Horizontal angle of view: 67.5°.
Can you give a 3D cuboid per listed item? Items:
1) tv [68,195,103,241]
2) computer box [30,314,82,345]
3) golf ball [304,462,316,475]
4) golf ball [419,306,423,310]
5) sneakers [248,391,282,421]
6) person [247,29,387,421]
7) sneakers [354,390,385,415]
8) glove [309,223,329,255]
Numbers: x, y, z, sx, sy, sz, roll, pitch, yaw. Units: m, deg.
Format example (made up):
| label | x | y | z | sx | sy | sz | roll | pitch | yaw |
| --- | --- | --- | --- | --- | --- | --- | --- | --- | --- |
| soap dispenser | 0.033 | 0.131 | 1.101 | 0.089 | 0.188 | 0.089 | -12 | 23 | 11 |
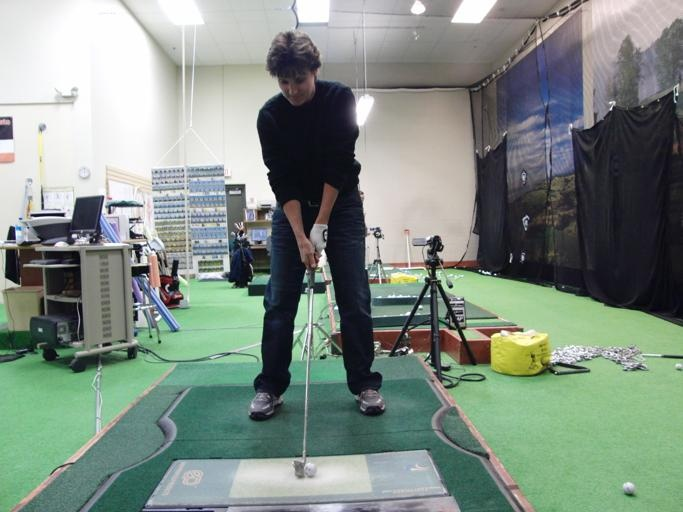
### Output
| label | x | y | z | sx | sy | sz | roll | pitch | yaw |
| --- | --- | --- | --- | --- | --- | --- | --- | --- | --- |
| tv | -2.384 | -0.359 | 4.767 | 0.455 | 0.411 | 0.200 | 8 | 12 | 44 |
| computer box | -2.608 | 0.672 | 4.627 | 0.462 | 0.263 | 0.217 | 6 | 10 | 33 |
| golf ball | -0.162 | 1.058 | 2.551 | 0.038 | 0.038 | 0.057 | 28 | -8 | -5 |
| golf ball | 0.859 | 0.552 | 5.507 | 0.031 | 0.042 | 0.089 | -3 | -5 | 4 |
| sneakers | -0.455 | 0.862 | 2.945 | 0.087 | 0.107 | 0.232 | -2 | -7 | 5 |
| person | -0.154 | -0.181 | 2.999 | 0.795 | 2.176 | 0.458 | -1 | 8 | -2 |
| sneakers | 0.173 | 0.842 | 3.004 | 0.176 | 0.126 | 0.141 | 0 | 9 | 3 |
| glove | -0.136 | -0.098 | 2.941 | 0.088 | 0.167 | 0.058 | 1 | -8 | 11 |
